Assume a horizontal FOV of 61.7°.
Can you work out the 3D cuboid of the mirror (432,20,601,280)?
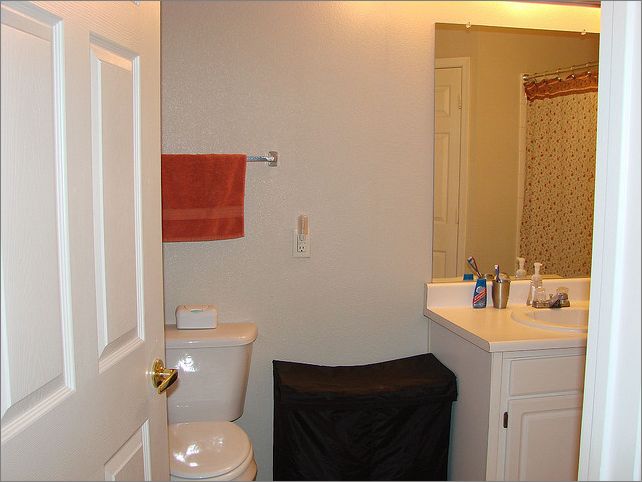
[{"bbox_3d":[0.829,-0.446,2.371,1.104,1.227,0.050,-1,3,-19],"label":"mirror"}]

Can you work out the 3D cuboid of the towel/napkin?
[{"bbox_3d":[-0.464,-0.173,2.054,0.344,0.327,0.039,-1,10,-17],"label":"towel/napkin"}]

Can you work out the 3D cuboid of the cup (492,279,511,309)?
[{"bbox_3d":[0.799,0.233,2.388,0.075,0.136,0.058,1,7,25],"label":"cup"}]

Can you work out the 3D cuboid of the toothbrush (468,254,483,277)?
[{"bbox_3d":[0.687,0.110,2.414,0.036,0.128,0.038,-15,22,41],"label":"toothbrush"}]
